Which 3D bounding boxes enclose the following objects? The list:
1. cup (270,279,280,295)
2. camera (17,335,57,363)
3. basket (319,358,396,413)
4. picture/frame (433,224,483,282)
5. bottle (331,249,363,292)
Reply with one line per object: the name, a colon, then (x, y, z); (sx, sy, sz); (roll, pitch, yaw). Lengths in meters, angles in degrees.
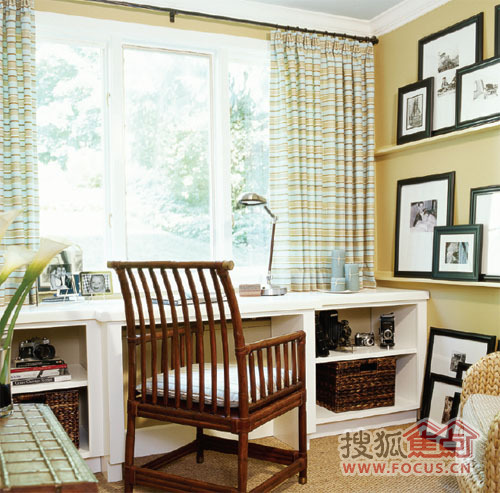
cup: (0.138, 0.245, 2.781); (0.079, 0.085, 0.060); (5, 9, 17)
camera: (-1.048, 0.497, 2.191); (0.158, 0.108, 0.111); (5, -4, -40)
basket: (0.704, 0.851, 2.926); (0.440, 0.311, 0.258); (1, 1, -17)
picture/frame: (1.210, 0.036, 2.601); (0.024, 0.363, 0.319); (5, -2, -27)
bottle: (0.607, 0.149, 2.919); (0.167, 0.269, 0.186); (0, -1, 7)
